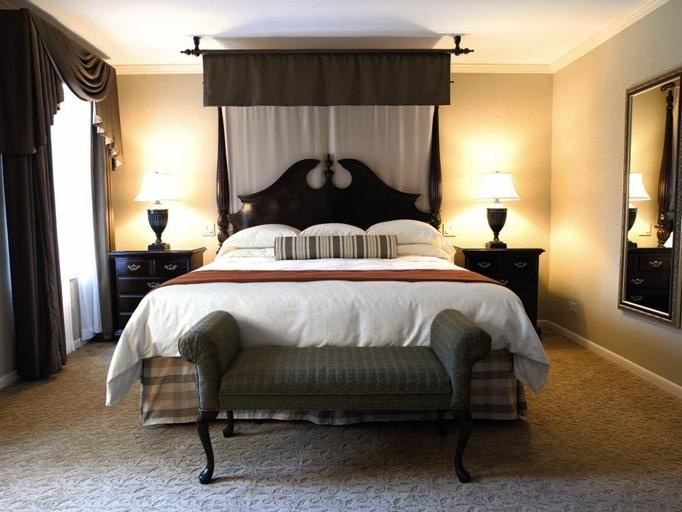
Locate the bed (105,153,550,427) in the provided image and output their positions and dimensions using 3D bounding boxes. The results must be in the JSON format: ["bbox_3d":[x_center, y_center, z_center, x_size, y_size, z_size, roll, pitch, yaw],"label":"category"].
[{"bbox_3d":[-0.082,0.196,5.542,2.708,1.841,3.166,-2,3,10],"label":"bed"}]

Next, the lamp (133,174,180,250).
[{"bbox_3d":[-1.868,-0.430,6.026,0.551,0.802,0.569,-2,-4,10],"label":"lamp"}]

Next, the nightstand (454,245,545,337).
[{"bbox_3d":[1.586,0.362,6.284,0.977,1.266,0.773,0,3,2],"label":"nightstand"}]

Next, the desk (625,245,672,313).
[{"bbox_3d":[2.527,0.190,4.824,0.282,0.535,0.528,-1,3,-15],"label":"desk"}]

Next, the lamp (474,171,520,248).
[{"bbox_3d":[1.605,-0.460,6.086,0.453,0.794,0.474,1,0,37],"label":"lamp"}]
